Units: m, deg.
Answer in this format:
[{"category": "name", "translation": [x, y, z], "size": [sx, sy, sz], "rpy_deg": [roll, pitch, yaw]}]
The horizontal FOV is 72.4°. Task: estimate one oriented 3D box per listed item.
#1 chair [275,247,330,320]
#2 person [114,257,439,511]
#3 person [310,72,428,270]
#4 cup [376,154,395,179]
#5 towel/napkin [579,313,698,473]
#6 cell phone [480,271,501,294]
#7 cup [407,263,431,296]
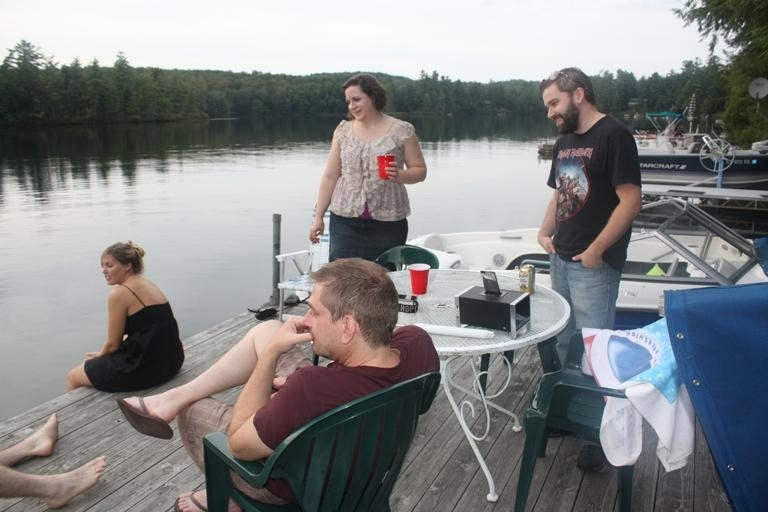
[{"category": "chair", "translation": [-0.847, 0.216, 6.176], "size": [0.628, 0.872, 0.607], "rpy_deg": [-5, -1, 26]}, {"category": "person", "translation": [-0.637, 0.747, 2.970], "size": [1.192, 1.378, 0.851], "rpy_deg": [23, 22, 27]}, {"category": "person", "translation": [-0.156, -0.670, 4.385], "size": [0.989, 1.617, 0.612], "rpy_deg": [1, 15, 6]}, {"category": "cup", "translation": [0.001, -0.699, 4.056], "size": [0.154, 0.167, 0.160], "rpy_deg": [0, 9, 0]}, {"category": "towel/napkin", "translation": [1.429, 0.668, 2.848], "size": [0.730, 0.281, 0.860], "rpy_deg": [-2, 32, 14]}, {"category": "cell phone", "translation": [0.626, 0.154, 3.070], "size": [0.119, 0.136, 0.084], "rpy_deg": [4, 16, 19]}, {"category": "cup", "translation": [0.247, 0.149, 3.541], "size": [0.169, 0.188, 0.175], "rpy_deg": [-5, 22, 2]}]
